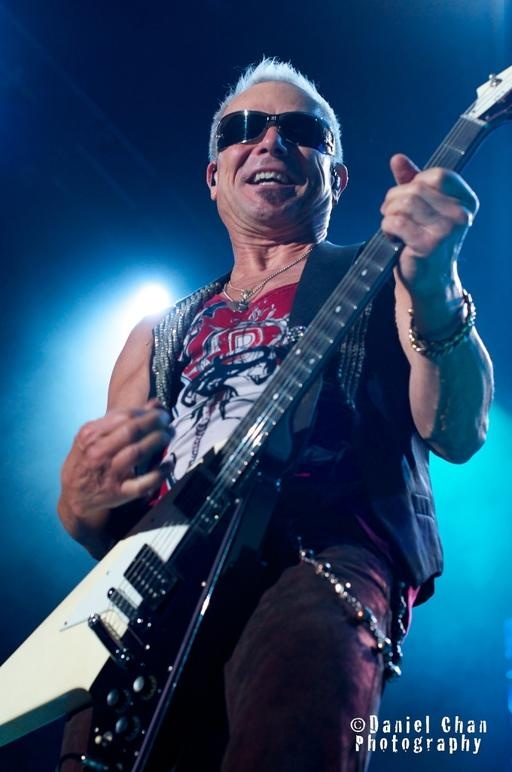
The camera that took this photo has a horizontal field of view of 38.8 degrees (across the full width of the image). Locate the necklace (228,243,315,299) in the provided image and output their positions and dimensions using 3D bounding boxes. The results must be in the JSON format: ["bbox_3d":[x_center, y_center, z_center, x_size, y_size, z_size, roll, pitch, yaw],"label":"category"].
[{"bbox_3d":[0.057,-0.336,2.378,0.136,0.063,0.371,25,53,40],"label":"necklace"}]

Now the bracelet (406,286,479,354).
[{"bbox_3d":[0.433,-0.142,1.664,0.138,0.152,0.046,4,-1,18],"label":"bracelet"}]
